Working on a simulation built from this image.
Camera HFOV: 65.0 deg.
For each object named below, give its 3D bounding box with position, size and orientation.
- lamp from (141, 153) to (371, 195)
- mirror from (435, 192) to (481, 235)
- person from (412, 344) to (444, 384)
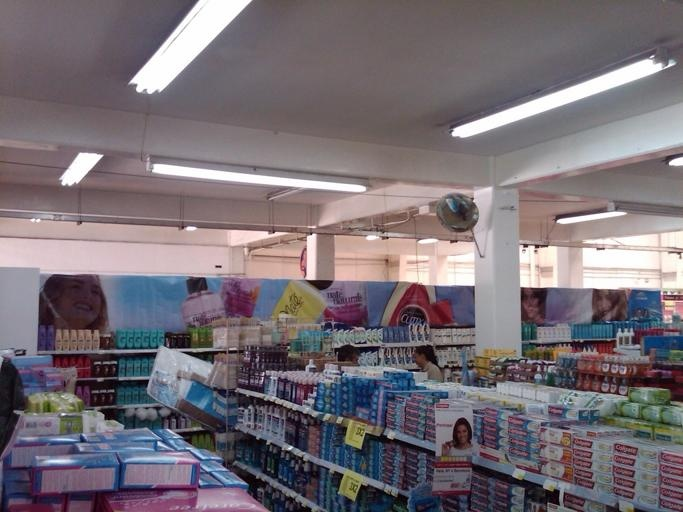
[{"bbox_3d":[-1.192,-1.150,7.599,2.925,0.234,0.304,1,-4,-22],"label":"lamp"},{"bbox_3d":[1.520,-0.576,7.166,0.489,0.545,0.320,-2,-2,1],"label":"mirror"},{"bbox_3d":[1.348,1.782,8.463,0.398,0.765,0.782,-8,0,3],"label":"person"}]
